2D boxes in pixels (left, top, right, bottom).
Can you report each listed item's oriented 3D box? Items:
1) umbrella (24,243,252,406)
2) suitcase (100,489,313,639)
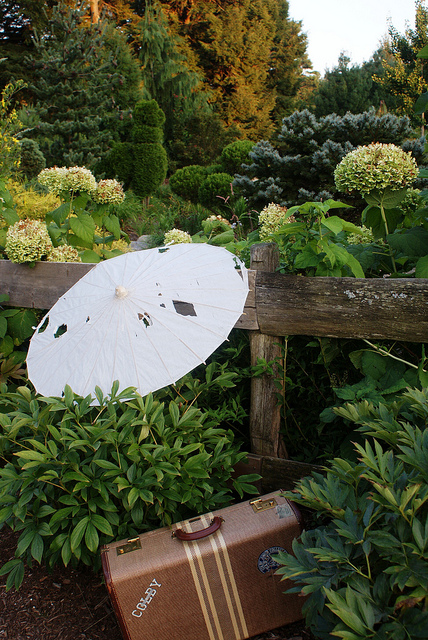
[{"bbox_3d":[-0.370,0.011,2.257,1.045,0.614,0.758,-1,14,3],"label":"umbrella"},{"bbox_3d":[-0.022,0.900,1.804,0.658,0.446,0.217,-17,-25,-14],"label":"suitcase"}]
